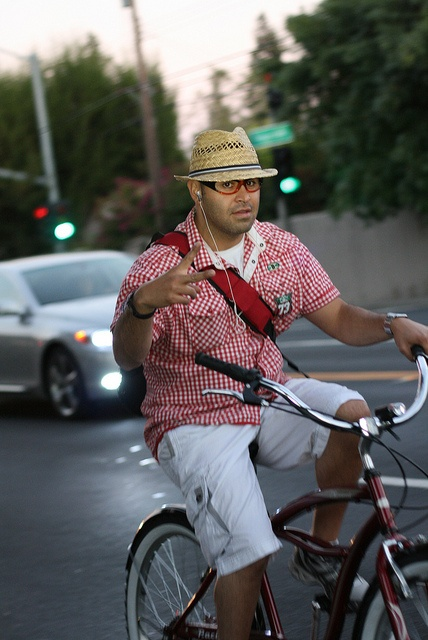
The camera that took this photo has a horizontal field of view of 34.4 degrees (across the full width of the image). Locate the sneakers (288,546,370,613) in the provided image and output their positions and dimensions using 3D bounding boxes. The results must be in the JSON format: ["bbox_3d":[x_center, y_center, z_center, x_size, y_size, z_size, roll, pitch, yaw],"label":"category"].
[{"bbox_3d":[0.321,0.655,1.768,0.092,0.104,0.257,-2,-3,-29],"label":"sneakers"}]

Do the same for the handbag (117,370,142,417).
[{"bbox_3d":[-0.259,0.229,2.172,0.100,0.119,0.031,3,9,40],"label":"handbag"}]

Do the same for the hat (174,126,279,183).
[{"bbox_3d":[0.029,-0.471,1.988,0.294,0.163,0.230,-10,28,-1],"label":"hat"}]
